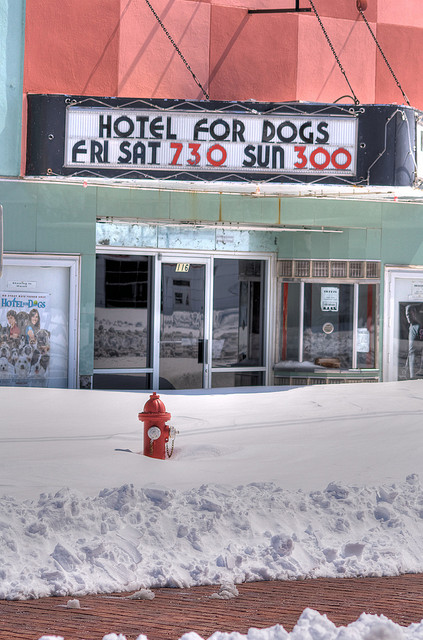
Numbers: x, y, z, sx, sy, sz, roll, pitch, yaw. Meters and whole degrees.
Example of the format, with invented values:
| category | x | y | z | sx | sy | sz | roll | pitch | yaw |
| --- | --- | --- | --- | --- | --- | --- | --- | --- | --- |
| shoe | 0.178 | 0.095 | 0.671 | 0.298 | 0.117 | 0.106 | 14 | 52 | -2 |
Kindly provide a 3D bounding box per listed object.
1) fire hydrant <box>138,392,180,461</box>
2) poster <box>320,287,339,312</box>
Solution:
| category | x | y | z | sx | sy | sz | roll | pitch | yaw |
| --- | --- | --- | --- | --- | --- | --- | --- | --- | --- |
| fire hydrant | -0.491 | 0.973 | 10.903 | 0.355 | 0.562 | 0.285 | 4 | 8 | 2 |
| poster | 1.782 | -0.301 | 17.905 | 0.309 | 0.459 | 0.046 | 1 | -4 | 1 |
